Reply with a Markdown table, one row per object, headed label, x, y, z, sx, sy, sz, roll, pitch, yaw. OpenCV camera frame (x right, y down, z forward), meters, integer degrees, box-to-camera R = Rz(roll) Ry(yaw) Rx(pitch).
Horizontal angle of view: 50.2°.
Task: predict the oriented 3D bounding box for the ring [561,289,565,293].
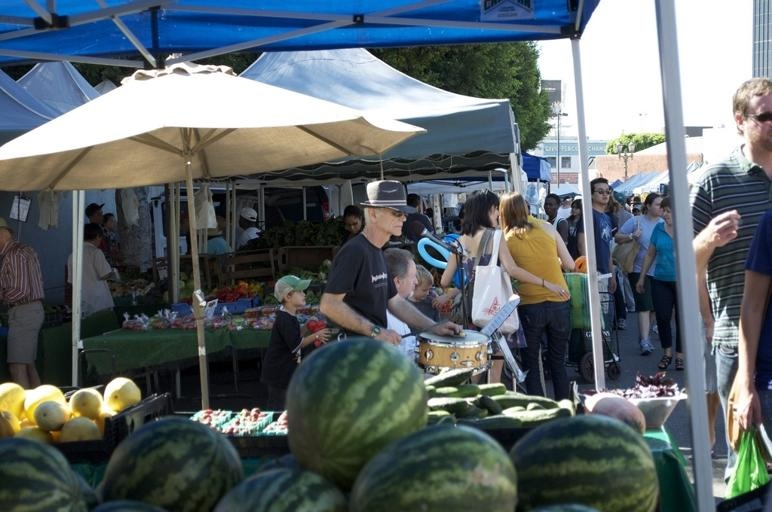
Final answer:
| label | x | y | z | sx | sy | sz | roll | pitch | yaw |
| --- | --- | --- | --- | --- | --- | --- | --- | --- | --- |
| ring | 1.863 | 0.367 | 8.701 | 0.035 | 0.036 | 0.012 | -4 | -30 | 4 |

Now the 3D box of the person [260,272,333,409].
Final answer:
| label | x | y | z | sx | sy | sz | roll | pitch | yaw |
| --- | --- | --- | --- | --- | --- | --- | --- | --- | --- |
| person | -0.958 | 0.823 | 8.199 | 0.501 | 1.503 | 0.489 | 0 | 2 | 25 |

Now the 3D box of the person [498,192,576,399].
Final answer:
| label | x | y | z | sx | sy | sz | roll | pitch | yaw |
| --- | --- | --- | --- | --- | --- | --- | --- | --- | --- |
| person | 1.674 | 0.549 | 9.130 | 0.720 | 2.555 | 0.720 | -5 | 6 | 9 |

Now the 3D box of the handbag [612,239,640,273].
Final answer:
| label | x | y | z | sx | sy | sz | roll | pitch | yaw |
| --- | --- | --- | --- | --- | --- | --- | --- | --- | --- |
| handbag | 3.599 | -0.017 | 12.306 | 0.313 | 0.421 | 0.149 | 33 | 10 | 33 |

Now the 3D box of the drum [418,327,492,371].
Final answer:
| label | x | y | z | sx | sy | sz | roll | pitch | yaw |
| --- | --- | --- | --- | --- | --- | --- | --- | --- | --- |
| drum | 0.506 | 0.796 | 6.802 | 0.604 | 0.281 | 0.654 | 3 | -1 | 0 |

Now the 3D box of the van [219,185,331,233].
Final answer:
| label | x | y | z | sx | sy | sz | roll | pitch | yaw |
| --- | --- | --- | --- | --- | --- | --- | --- | --- | --- |
| van | -2.362 | -1.026 | 17.675 | 2.166 | 1.026 | 0.948 | -2 | -6 | -1 |
